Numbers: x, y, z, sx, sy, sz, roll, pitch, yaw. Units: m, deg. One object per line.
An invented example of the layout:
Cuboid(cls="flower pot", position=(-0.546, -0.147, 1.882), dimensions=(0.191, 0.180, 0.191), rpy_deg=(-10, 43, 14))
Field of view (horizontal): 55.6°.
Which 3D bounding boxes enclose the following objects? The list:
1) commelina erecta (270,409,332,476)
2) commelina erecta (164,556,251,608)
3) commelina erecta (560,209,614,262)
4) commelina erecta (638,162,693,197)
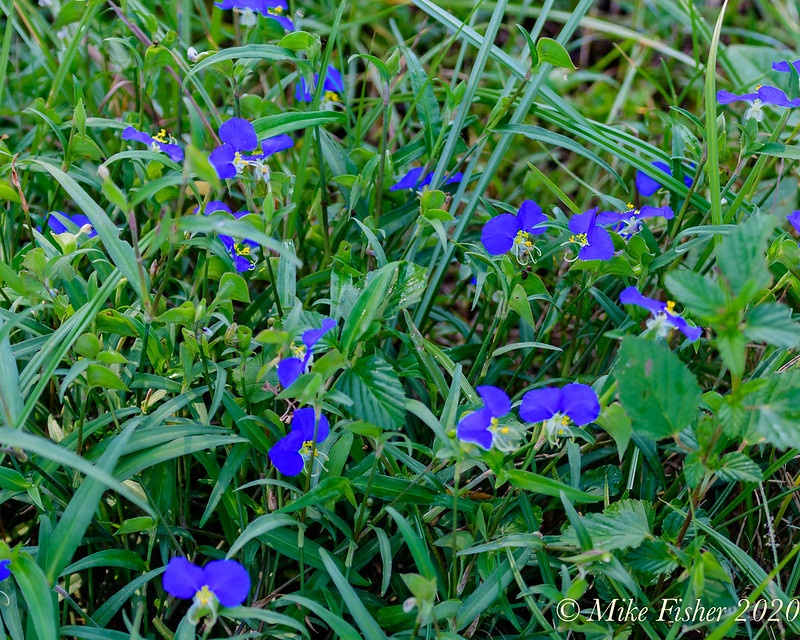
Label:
Cuboid(cls="commelina erecta", position=(-0.243, 0.294, 1.835), dimensions=(0.125, 0.054, 0.173), rpy_deg=(-4, 75, 24))
Cuboid(cls="commelina erecta", position=(-0.395, 0.527, 1.593), dimensions=(0.171, 0.118, 0.111), rpy_deg=(10, 46, -5))
Cuboid(cls="commelina erecta", position=(0.500, -0.224, 2.038), dimensions=(0.116, 0.043, 0.139), rpy_deg=(22, 67, 7))
Cuboid(cls="commelina erecta", position=(0.861, -0.487, 2.474), dimensions=(0.160, 0.081, 0.129), rpy_deg=(2, 16, -26))
